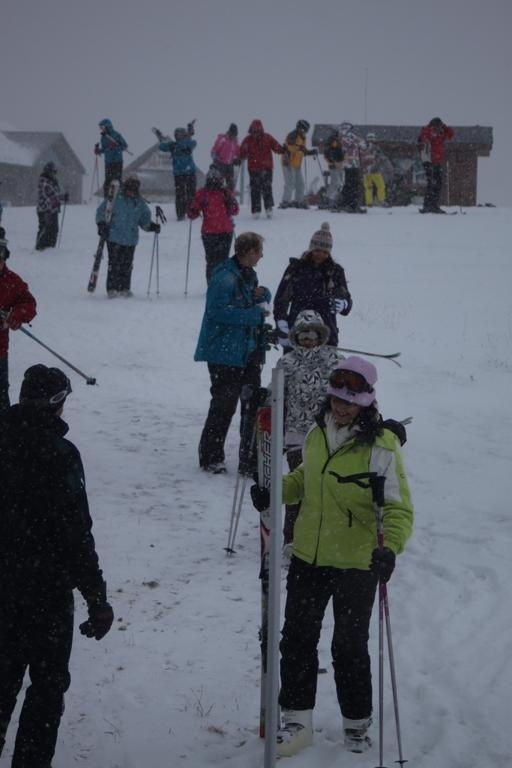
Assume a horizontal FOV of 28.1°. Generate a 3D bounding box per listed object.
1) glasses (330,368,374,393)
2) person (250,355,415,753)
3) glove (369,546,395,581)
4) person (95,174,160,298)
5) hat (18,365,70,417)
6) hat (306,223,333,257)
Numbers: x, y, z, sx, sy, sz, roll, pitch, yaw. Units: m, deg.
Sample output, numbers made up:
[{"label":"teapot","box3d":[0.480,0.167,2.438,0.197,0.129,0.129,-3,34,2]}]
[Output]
[{"label":"glasses","box3d":[0.398,-0.014,4.269,0.175,0.081,0.085,8,14,19]},{"label":"person","box3d":[0.327,0.736,4.331,0.676,1.668,0.643,11,16,30]},{"label":"glove","box3d":[0.501,0.709,4.062,0.045,0.094,0.126,-20,30,35]},{"label":"person","box3d":[-1.681,-1.845,13.297,0.732,1.661,1.508,2,14,-6]},{"label":"hat","box3d":[-0.831,0.029,4.014,0.206,0.191,0.162,8,10,-8]},{"label":"hat","box3d":[0.468,-1.011,7.357,0.135,0.174,0.232,2,14,-4]}]
